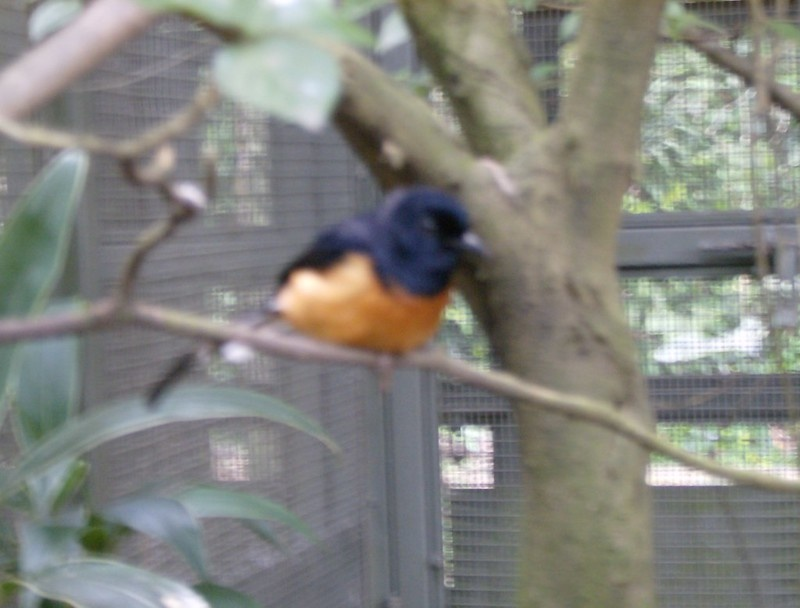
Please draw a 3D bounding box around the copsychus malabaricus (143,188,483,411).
[{"bbox_3d":[-0.085,-0.015,1.522,0.537,0.207,0.161,-3,-4,42],"label":"copsychus malabaricus"}]
